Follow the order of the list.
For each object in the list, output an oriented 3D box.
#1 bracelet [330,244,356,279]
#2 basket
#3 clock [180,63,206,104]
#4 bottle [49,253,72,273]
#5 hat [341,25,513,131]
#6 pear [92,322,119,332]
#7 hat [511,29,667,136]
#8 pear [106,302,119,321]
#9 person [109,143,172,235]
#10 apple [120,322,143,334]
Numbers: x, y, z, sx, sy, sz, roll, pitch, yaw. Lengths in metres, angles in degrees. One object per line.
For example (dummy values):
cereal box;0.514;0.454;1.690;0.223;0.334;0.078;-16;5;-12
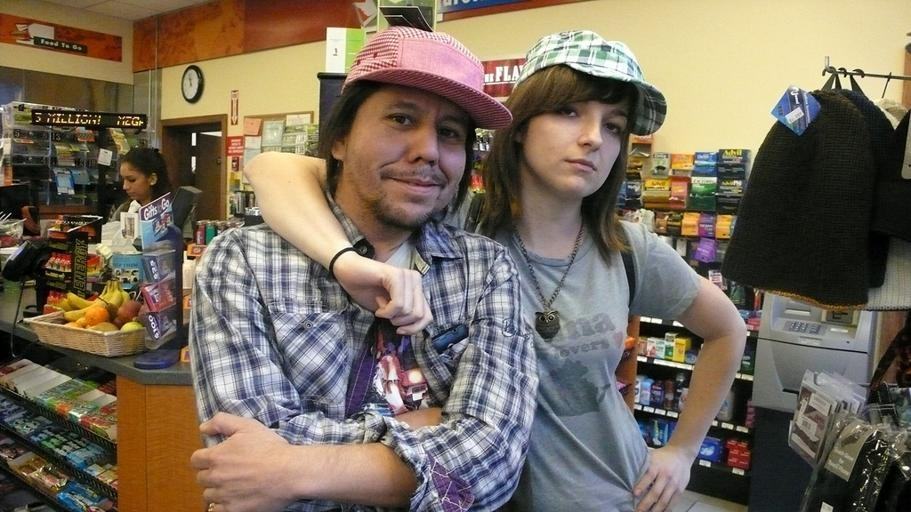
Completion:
bracelet;-0.500;0.020;2.759;0.124;0.140;0.135;2;11;-8
basket;-2.398;0.440;4.002;0.593;0.143;0.362;10;9;32
clock;-4.113;-2.741;9.734;0.094;0.690;0.723;-2;0;-44
bottle;-2.833;0.051;4.452;0.150;0.091;0.047;5;6;26
hat;-0.108;-0.811;2.764;0.556;0.243;0.435;10;-8;32
pear;-2.230;0.453;3.930;0.147;0.046;0.111;-2;12;-27
hat;0.713;-0.875;3.040;0.688;0.354;0.511;9;-21;28
pear;-2.272;0.370;4.104;0.066;0.115;0.044;-24;-10;35
person;-3.209;-0.699;6.297;0.544;0.805;1.402;-2;12;-28
apple;-2.076;0.450;3.966;0.081;0.077;0.099;-6;-1;40
